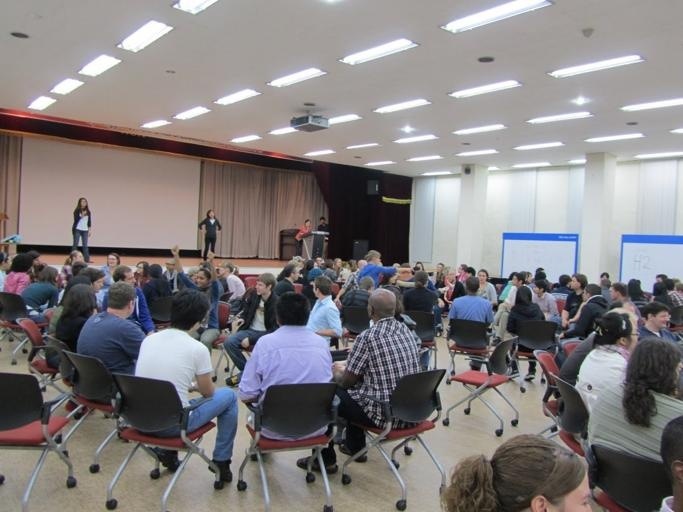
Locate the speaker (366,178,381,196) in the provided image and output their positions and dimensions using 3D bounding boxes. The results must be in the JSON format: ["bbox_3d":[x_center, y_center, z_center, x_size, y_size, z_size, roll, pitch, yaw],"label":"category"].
[{"bbox_3d":[1.054,-2.329,17.586,0.449,0.532,0.331,2,1,21],"label":"speaker"}]

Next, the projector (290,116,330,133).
[{"bbox_3d":[-0.595,-2.613,10.065,0.675,0.302,0.574,2,1,29],"label":"projector"}]

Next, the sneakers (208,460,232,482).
[{"bbox_3d":[-1.008,1.734,4.246,0.202,0.207,0.104,4,-3,-43],"label":"sneakers"}]

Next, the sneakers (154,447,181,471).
[{"bbox_3d":[-1.457,1.665,4.281,0.208,0.230,0.274,1,1,-23],"label":"sneakers"}]
